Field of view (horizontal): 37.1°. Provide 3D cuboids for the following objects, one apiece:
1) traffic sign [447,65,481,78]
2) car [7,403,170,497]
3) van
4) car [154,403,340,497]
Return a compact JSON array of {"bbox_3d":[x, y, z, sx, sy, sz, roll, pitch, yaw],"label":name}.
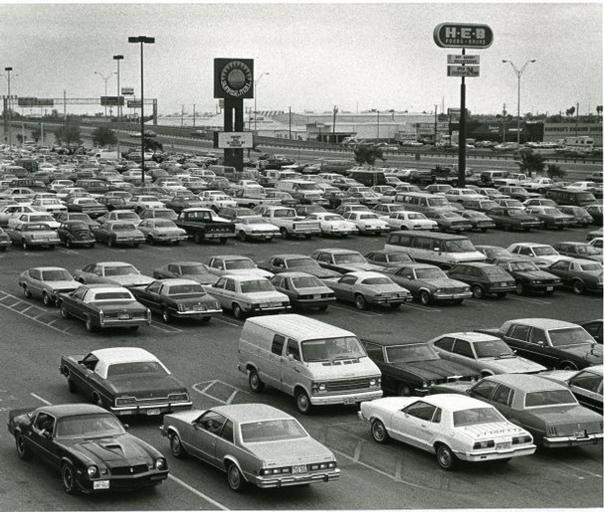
[{"bbox_3d":[12.534,-14.256,69.515,2.420,0.963,0.939,1,9,1],"label":"traffic sign"},{"bbox_3d":[-4.420,3.685,17.741,1.428,0.877,3.294,-2,9,-35],"label":"car"},{"bbox_3d":[0.138,2.749,23.561,2.161,1.734,4.276,-3,7,-29],"label":"van"},{"bbox_3d":[-1.293,3.903,18.010,1.499,0.948,3.237,-4,7,-35],"label":"car"}]
